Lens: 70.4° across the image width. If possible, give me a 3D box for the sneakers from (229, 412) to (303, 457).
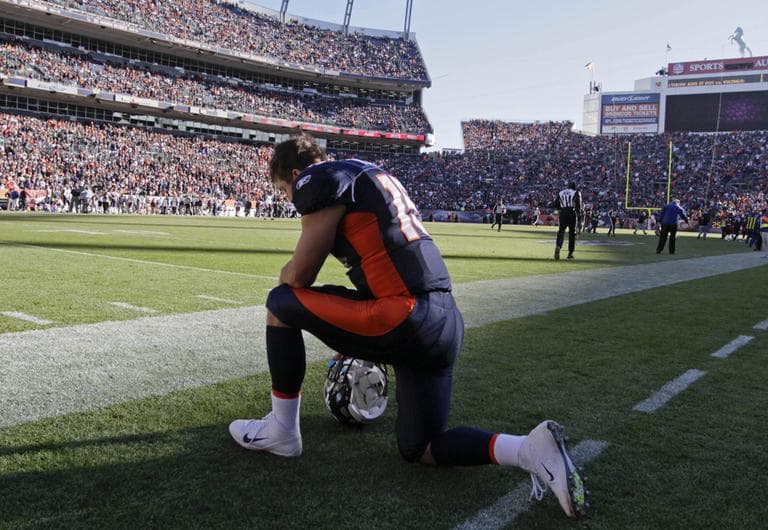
[{"bbox_3d":[-0.682,0.935,3.063,0.493,0.227,0.190,2,7,23],"label":"sneakers"}]
